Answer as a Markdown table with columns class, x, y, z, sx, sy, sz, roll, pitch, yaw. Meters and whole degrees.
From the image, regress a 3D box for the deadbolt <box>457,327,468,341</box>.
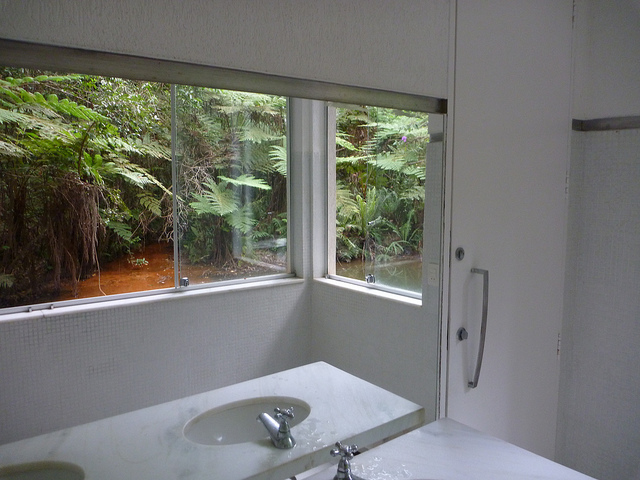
| class | x | y | z | sx | sy | sz | roll | pitch | yaw |
| --- | --- | --- | --- | --- | --- | --- | --- | --- | --- |
| deadbolt | 0.537 | 0.357 | 1.771 | 0.064 | 0.054 | 0.010 | -3 | 8 | -41 |
